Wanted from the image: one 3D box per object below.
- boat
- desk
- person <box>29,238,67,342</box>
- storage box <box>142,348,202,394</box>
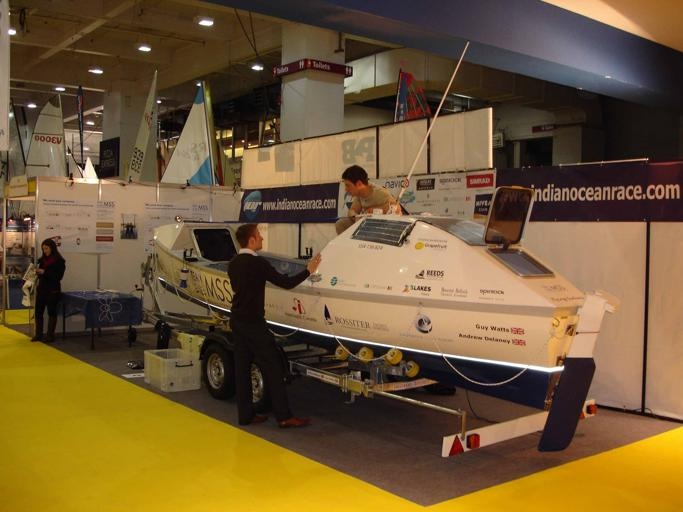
[{"bbox_3d":[0.145,0.407,7.556,6.037,2.682,2.196,10,6,43],"label":"boat"},{"bbox_3d":[-4.281,1.070,10.471,1.099,0.930,1.985,-3,7,-43],"label":"desk"},{"bbox_3d":[-5.080,0.596,10.192,0.499,1.767,0.594,-2,6,-32],"label":"person"},{"bbox_3d":[-2.162,1.305,7.598,0.454,0.361,0.720,-4,8,-30],"label":"storage box"}]
